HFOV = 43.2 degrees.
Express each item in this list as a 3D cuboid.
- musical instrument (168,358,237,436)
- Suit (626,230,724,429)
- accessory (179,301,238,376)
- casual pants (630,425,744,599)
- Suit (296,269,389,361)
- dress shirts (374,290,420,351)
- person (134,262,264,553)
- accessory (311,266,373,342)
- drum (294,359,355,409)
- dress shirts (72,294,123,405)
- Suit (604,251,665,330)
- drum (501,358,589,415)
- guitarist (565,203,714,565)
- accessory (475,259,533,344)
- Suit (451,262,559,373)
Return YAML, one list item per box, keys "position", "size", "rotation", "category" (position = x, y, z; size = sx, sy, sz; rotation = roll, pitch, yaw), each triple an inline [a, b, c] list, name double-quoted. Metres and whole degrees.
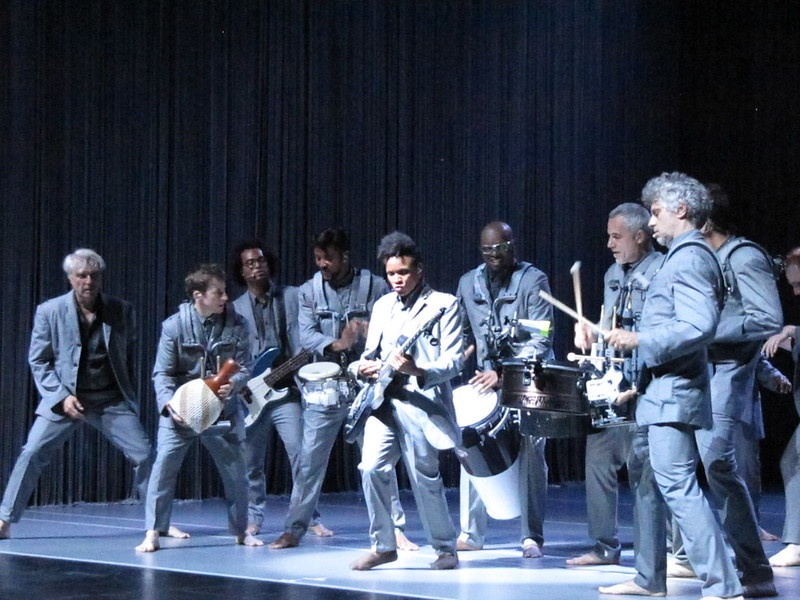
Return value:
- position: [-1.244, 0.663, 6.505]
  size: [0.280, 0.467, 0.246]
  rotation: [37, -25, 16]
  category: "musical instrument"
- position: [1.426, 0.153, 5.197]
  size: [0.508, 1.014, 0.334]
  rotation: [-7, -8, 17]
  category: "Suit"
- position: [-1.287, 0.260, 6.711]
  size: [0.354, 0.477, 0.267]
  rotation: [-8, 28, -23]
  category: "accessory"
- position: [1.468, 1.096, 5.312]
  size: [0.359, 0.893, 0.573]
  rotation: [-3, -8, -12]
  category: "casual pants"
- position: [-0.351, 0.111, 6.996]
  size: [0.651, 0.638, 0.373]
  rotation: [-7, -17, 17]
  category: "Suit"
- position: [-0.025, 0.140, 6.037]
  size: [0.180, 0.347, 0.092]
  rotation: [27, -5, 42]
  category: "dress shirts"
- position: [-1.345, 0.710, 6.630]
  size: [0.771, 1.862, 0.526]
  rotation: [-3, -7, -9]
  category: "person"
- position: [-0.378, 0.021, 7.011]
  size: [0.358, 0.466, 0.445]
  rotation: [2, -47, 0]
  category: "accessory"
- position: [-0.536, 0.618, 6.745]
  size: [0.329, 0.218, 0.443]
  rotation: [-3, -3, -28]
  category: "drum"
- position: [-2.089, 0.379, 6.913]
  size: [0.291, 0.621, 0.146]
  rotation: [-2, 5, -25]
  category: "dress shirts"
- position: [1.411, -0.037, 6.205]
  size: [0.364, 0.465, 0.262]
  rotation: [5, 4, 30]
  category: "Suit"
- position: [0.867, 0.501, 5.995]
  size: [0.533, 0.294, 0.564]
  rotation: [4, -5, 0]
  category: "drum"
- position: [1.446, 0.565, 6.172]
  size: [0.828, 2.378, 0.782]
  rotation: [9, 19, 36]
  category: "guitarist"
- position: [0.649, -0.037, 6.701]
  size: [0.339, 0.453, 0.261]
  rotation: [-2, 21, -7]
  category: "accessory"
- position: [0.705, 0.114, 6.693]
  size: [0.721, 0.949, 0.686]
  rotation: [-2, -9, 16]
  category: "Suit"
